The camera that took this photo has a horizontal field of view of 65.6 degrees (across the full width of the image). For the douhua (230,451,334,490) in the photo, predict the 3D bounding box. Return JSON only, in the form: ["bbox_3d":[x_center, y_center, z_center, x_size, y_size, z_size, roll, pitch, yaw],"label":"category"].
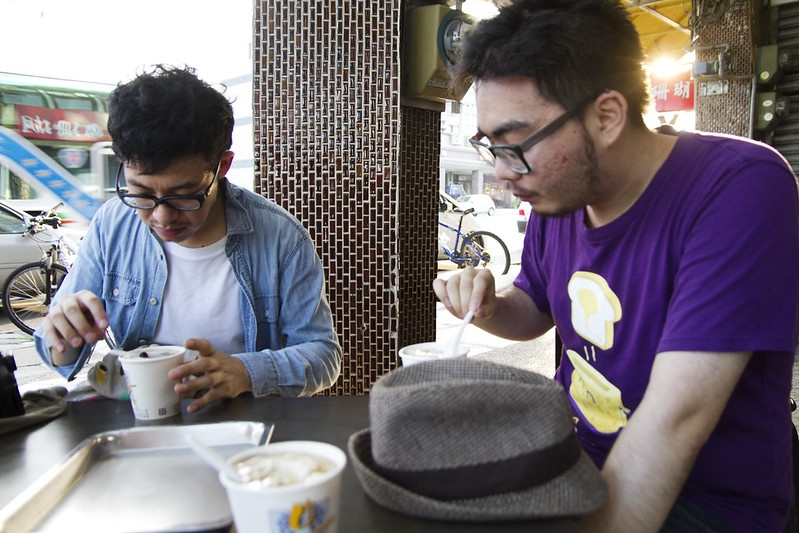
[{"bbox_3d":[-0.271,0.448,1.420,0.109,0.062,0.125,2,3,-28],"label":"douhua"}]

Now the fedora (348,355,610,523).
[{"bbox_3d":[0.180,0.446,1.569,0.645,0.365,0.234,-1,10,19],"label":"fedora"}]
